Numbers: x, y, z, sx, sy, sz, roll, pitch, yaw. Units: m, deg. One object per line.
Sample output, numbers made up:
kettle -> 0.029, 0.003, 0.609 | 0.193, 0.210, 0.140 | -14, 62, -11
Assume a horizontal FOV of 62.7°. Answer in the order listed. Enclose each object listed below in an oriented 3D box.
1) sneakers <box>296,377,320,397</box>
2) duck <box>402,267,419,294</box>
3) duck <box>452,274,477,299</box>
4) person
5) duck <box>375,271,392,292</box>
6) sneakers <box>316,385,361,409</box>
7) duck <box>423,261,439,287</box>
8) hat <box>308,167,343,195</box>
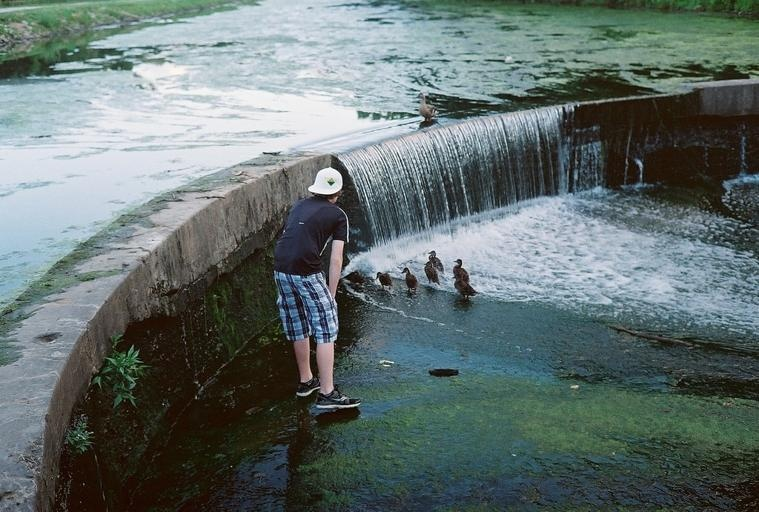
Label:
sneakers -> -0.816, 1.514, 7.299 | 0.155, 0.130, 0.372 | 3, 13, 36
duck -> 0.497, 0.397, 10.033 | 0.196, 0.306, 0.399 | -5, 21, 2
duck -> 1.349, 0.479, 9.846 | 0.346, 0.293, 0.423 | -3, 21, 7
person -> -0.721, 0.394, 6.838 | 0.851, 2.639, 0.967 | -4, 25, 7
duck -> 0.068, 0.387, 10.081 | 0.252, 0.254, 0.405 | -6, 21, -1
sneakers -> -0.479, 1.608, 7.037 | 0.590, 0.210, 0.182 | 0, 3, -4
duck -> 0.840, 0.285, 10.217 | 0.294, 0.137, 0.410 | 12, 37, -10
hat -> -0.552, -0.812, 6.736 | 0.302, 0.179, 0.359 | 22, 28, 20
